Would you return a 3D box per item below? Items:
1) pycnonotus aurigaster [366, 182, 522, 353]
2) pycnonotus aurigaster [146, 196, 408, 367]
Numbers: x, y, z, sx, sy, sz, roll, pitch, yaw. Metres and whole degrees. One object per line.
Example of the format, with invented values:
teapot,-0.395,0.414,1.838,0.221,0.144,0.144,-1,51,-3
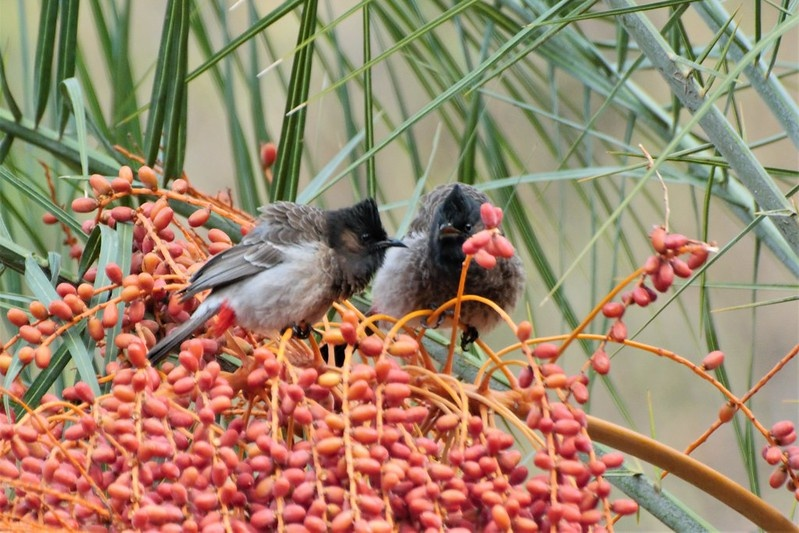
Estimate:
pycnonotus aurigaster,0.227,0.018,4.620,0.653,0.800,0.956,1,8,-1
pycnonotus aurigaster,-0.531,0.023,3.453,1.125,0.606,0.353,-6,-5,-14
